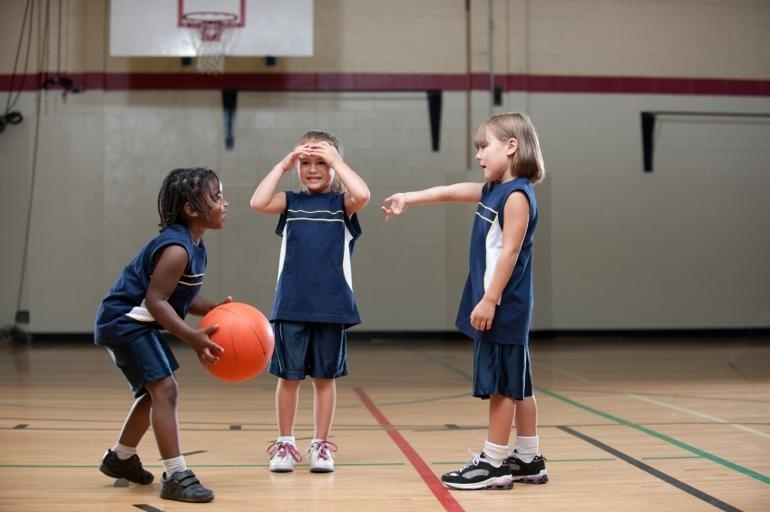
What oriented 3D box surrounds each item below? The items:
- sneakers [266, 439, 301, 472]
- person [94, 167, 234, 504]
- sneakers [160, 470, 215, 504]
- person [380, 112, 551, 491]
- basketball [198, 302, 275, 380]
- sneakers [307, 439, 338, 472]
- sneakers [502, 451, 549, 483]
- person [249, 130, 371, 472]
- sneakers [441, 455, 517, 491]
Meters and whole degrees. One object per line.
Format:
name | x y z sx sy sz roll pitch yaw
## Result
sneakers | -0.594 1.187 4.405 0.186 0.195 0.124 -1 4 -10
person | -1.246 0.433 4.100 0.723 1.850 0.368 -1 4 -14
sneakers | -1.088 1.272 4.077 0.282 0.142 0.143 1 -4 23
person | 0.635 0.243 4.321 0.681 2.166 0.457 0 4 4
basketball | -0.854 0.469 4.326 0.411 0.475 0.432 8 21 -15
sneakers | -0.381 1.189 4.472 0.152 0.143 0.362 -1 5 -18
sneakers | 0.827 1.264 4.346 0.299 0.153 0.121 4 -10 -3
person | -0.443 0.251 4.486 0.678 2.052 0.460 -1 4 -11
sneakers | 0.536 1.277 4.306 0.437 0.238 0.175 1 -13 0
